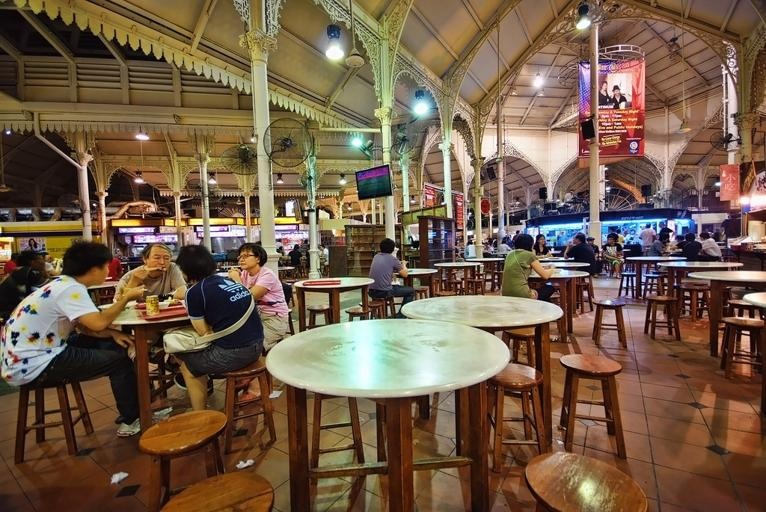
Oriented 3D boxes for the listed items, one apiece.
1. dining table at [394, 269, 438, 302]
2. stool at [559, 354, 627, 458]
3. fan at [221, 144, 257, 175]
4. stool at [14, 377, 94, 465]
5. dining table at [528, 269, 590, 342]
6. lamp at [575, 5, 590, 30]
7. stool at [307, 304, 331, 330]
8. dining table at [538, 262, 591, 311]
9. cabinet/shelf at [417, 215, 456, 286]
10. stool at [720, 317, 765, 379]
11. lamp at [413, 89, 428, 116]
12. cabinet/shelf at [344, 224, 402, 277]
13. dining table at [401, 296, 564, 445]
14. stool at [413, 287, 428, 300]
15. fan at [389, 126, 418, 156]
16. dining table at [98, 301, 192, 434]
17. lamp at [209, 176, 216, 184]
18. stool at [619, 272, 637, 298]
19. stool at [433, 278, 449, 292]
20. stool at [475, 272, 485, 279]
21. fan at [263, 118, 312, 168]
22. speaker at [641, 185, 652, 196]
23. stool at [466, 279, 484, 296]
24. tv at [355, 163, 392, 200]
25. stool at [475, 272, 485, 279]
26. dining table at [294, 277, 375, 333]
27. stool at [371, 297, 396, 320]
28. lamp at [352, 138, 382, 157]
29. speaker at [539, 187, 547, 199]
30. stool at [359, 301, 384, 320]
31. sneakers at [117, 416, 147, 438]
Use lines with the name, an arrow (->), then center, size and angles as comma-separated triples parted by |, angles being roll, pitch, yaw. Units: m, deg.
dining table -> 0.897, 0.765, 13.389 | 0.919, 0.944, 0.906 | -7, 7, -44
stool -> 3.578, 2.548, 9.276 | 1.062, 1.710, 0.790 | 0, 4, 13
fan -> -4.092, -2.806, 15.614 | 0.587, 0.824, 1.161 | 2, 5, 37
stool -> -5.903, 2.959, 9.809 | 1.304, 1.835, 1.432 | -2, -2, -36
dining table -> 3.807, 1.102, 11.888 | 1.508, 1.158, 1.531 | 2, 5, 44
lamp -> 5.479, -6.624, 14.785 | 0.380, 0.642, 0.366 | -1, 4, 5
stool -> -1.359, 1.225, 11.262 | 0.571, 0.699, 0.605 | -1, -3, -18
dining table -> 4.056, 0.643, 11.643 | 1.141, 0.513, 1.659 | -4, 5, 13
cabinet/shelf -> 1.524, -0.157, 15.830 | 0.494, 2.086, 2.209 | -1, -1, 27
stool -> 6.812, 1.701, 10.385 | 0.863, 1.108, 1.052 | 0, -4, 16
lamp -> 1.132, -4.744, 16.540 | 0.523, 0.470, 1.057 | -8, -5, 3
cabinet/shelf -> -0.359, -0.134, 16.154 | 1.722, 1.713, 0.599 | -1, 0, -4
dining table -> 1.751, 2.067, 9.645 | 2.468, 1.890, 2.518 | 3, 8, 38
stool -> 0.954, 0.934, 13.286 | 0.367, 0.438, 0.394 | -1, 0, -4
fan -> 0.597, -3.400, 15.466 | 0.419, 0.823, 1.106 | -4, 5, -29
dining table -> -4.367, 1.884, 10.038 | 1.581, 2.073, 2.000 | -2, 3, -36
lamp -> -7.366, -3.274, 23.257 | 0.353, 0.375, 0.366 | -13, 14, -38
stool -> 6.625, 0.834, 14.642 | 0.555, 0.899, 0.591 | -1, 4, 21
stool -> 1.642, 0.880, 15.587 | 0.468, 0.573, 0.490 | -2, 0, -20
stool -> 2.745, 0.587, 15.359 | 0.258, 0.154, 0.257 | -3, 5, -34
fan -> -2.142, -2.684, 12.504 | 0.898, 1.208, 1.563 | -2, 4, -5
speaker -> 13.601, -3.374, 27.903 | 0.458, 0.635, 1.240 | 1, 5, 26
stool -> 2.446, 0.901, 14.398 | 0.491, 0.560, 0.505 | -2, -1, 1
tv -> -0.238, -1.996, 14.554 | 1.191, 0.867, 0.236 | 2, 5, 35
stool -> 2.744, 0.589, 15.376 | 0.252, 0.193, 0.258 | -1, -2, 24
dining table -> -1.102, 0.780, 11.223 | 1.214, 1.430, 1.264 | -7, 8, -44
stool -> -0.078, 1.199, 11.841 | 0.504, 0.686, 0.561 | -1, 0, 13
lamp -> -0.569, -3.770, 18.193 | 0.863, 0.774, 2.653 | -1, 4, 3
speaker -> 7.858, -3.071, 26.515 | 0.251, 0.638, 1.483 | 0, 5, 12
stool -> -0.225, 1.213, 11.713 | 0.386, 0.481, 0.407 | -1, 0, -3
sneakers -> -4.417, 3.105, 9.662 | 0.241, 0.249, 0.578 | -4, -12, 26
